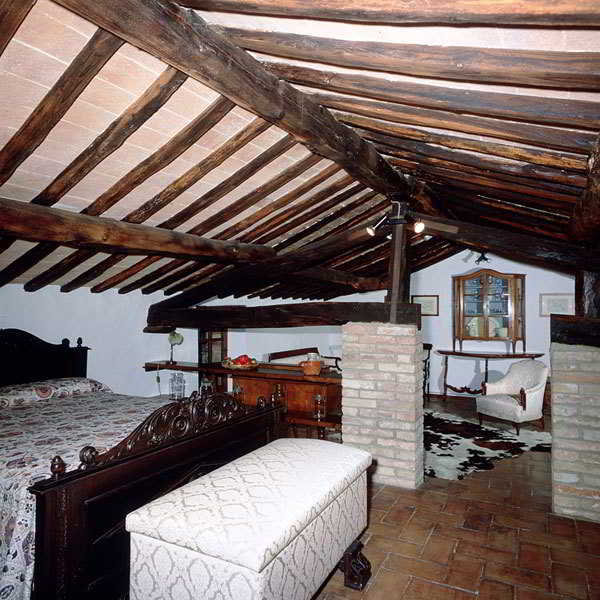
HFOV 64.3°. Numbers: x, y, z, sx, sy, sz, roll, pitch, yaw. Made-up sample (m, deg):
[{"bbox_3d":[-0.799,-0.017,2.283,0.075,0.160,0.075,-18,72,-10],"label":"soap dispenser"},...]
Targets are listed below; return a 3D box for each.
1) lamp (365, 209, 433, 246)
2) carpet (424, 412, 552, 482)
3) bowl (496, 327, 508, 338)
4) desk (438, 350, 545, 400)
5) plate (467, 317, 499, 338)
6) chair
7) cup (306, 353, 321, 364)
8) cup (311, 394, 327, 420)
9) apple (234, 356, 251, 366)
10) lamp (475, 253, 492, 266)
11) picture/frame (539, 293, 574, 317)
[{"bbox_3d":[1.031,-0.849,5.023,0.490,0.160,0.462,-8,-21,29],"label":"lamp"},{"bbox_3d":[2.058,1.736,5.801,1.237,1.087,0.020,4,27,21],"label":"carpet"},{"bbox_3d":[3.443,0.552,8.105,0.195,0.162,0.171,1,-1,-11],"label":"bowl"},{"bbox_3d":[2.993,1.409,8.658,1.909,0.793,0.686,14,-17,-41],"label":"desk"},{"bbox_3d":[3.153,0.469,8.251,0.550,0.351,0.108,0,-1,23],"label":"plate"},{"bbox_3d":[2.914,1.240,6.443,0.832,0.689,0.668,-9,5,-22],"label":"chair"},{"bbox_3d":[0.138,0.598,4.979,0.107,0.090,0.097,-1,0,-1],"label":"cup"},{"bbox_3d":[0.192,1.067,4.784,0.119,0.225,0.209,0,0,2],"label":"cup"},{"bbox_3d":[-0.631,0.673,5.326,0.136,0.046,0.123,2,-2,16],"label":"apple"},{"bbox_3d":[3.193,-0.727,8.390,0.192,0.192,0.206,3,6,-29],"label":"lamp"},{"bbox_3d":[4.141,0.060,7.670,0.477,0.322,0.046,0,-8,33],"label":"picture/frame"}]
